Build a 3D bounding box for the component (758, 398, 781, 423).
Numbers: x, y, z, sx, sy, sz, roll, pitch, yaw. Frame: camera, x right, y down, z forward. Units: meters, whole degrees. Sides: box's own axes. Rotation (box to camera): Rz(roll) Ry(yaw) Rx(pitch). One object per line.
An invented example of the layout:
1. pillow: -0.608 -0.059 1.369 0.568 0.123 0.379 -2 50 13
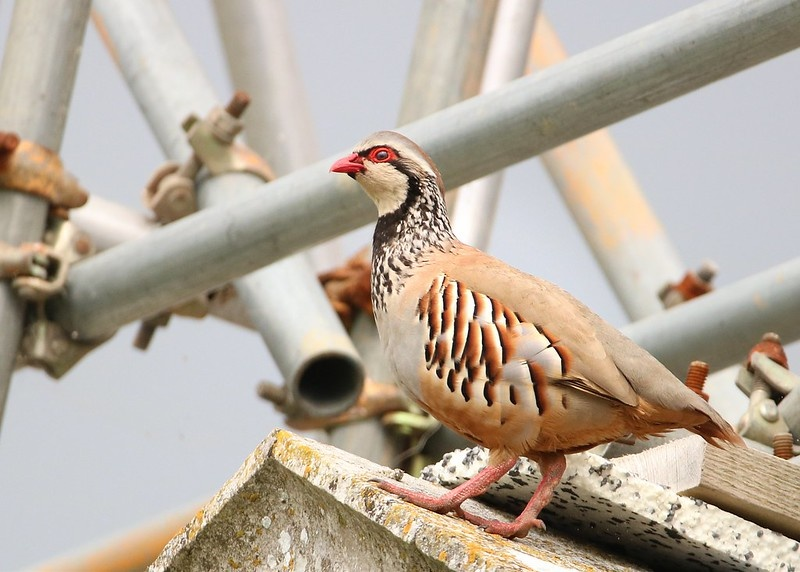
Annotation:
1. component: 1.822 0.611 6.988 0.034 0.103 0.101 -23 -3 22
